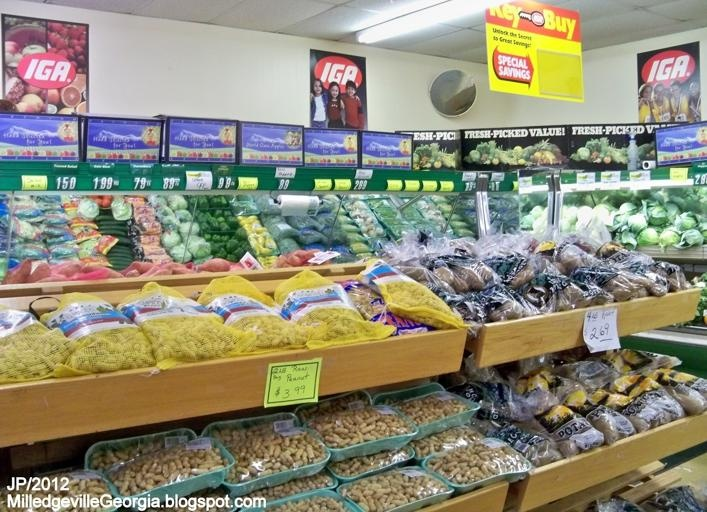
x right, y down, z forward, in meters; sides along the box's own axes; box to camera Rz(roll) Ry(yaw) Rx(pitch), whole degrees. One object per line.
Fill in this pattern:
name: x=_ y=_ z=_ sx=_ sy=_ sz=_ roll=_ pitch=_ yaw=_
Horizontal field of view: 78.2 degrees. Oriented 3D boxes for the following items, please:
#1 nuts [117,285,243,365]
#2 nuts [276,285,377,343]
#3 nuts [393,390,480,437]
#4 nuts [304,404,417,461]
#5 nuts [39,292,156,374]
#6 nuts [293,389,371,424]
nuts: x=-0.417 y=0.125 z=1.035 sx=0.162 sy=0.052 sz=0.260 roll=-3 pitch=24 yaw=-40
nuts: x=-0.080 y=0.128 z=1.200 sx=0.232 sy=0.115 sz=0.248 roll=-6 pitch=11 yaw=-33
nuts: x=0.264 y=0.496 z=1.407 sx=0.228 sy=0.098 sz=0.203 roll=-1 pitch=8 yaw=-30
nuts: x=0.020 y=0.499 z=1.250 sx=0.236 sy=0.059 sz=0.142 roll=-4 pitch=12 yaw=-29
nuts: x=-0.560 y=0.144 z=0.986 sx=0.235 sy=0.136 sz=0.202 roll=-3 pitch=10 yaw=-26
nuts: x=-0.085 y=0.453 z=1.375 sx=0.167 sy=0.056 sz=0.199 roll=11 pitch=9 yaw=38
